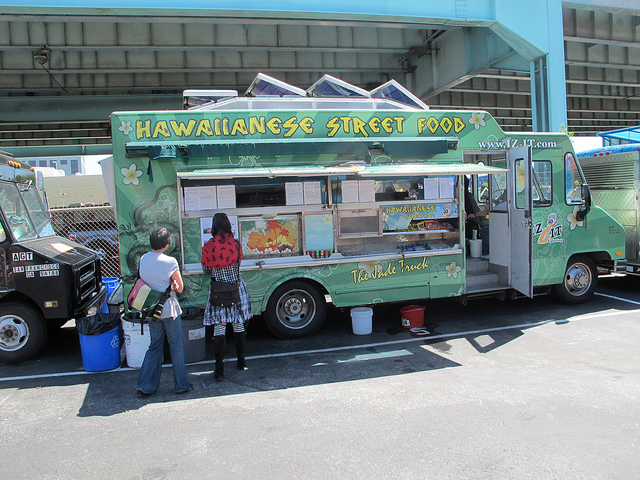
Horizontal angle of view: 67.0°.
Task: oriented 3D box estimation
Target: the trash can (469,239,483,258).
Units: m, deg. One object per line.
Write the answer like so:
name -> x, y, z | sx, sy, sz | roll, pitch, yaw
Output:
trash can -> 3.154, 0.177, 9.819 | 0.228, 0.357, 0.181 | -1, 9, 7

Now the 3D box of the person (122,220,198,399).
person -> -2.077, 0.918, 6.346 | 0.776, 2.138, 0.867 | -4, 9, -11

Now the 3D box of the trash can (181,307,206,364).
trash can -> -1.893, 1.455, 7.274 | 0.344, 0.784, 0.299 | -5, 10, -20

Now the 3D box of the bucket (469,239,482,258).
bucket -> 3.145, 0.185, 9.946 | 0.313, 0.336, 0.309 | -1, 2, 0

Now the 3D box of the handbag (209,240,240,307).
handbag -> -1.305, 0.718, 6.588 | 0.423, 0.412, 0.151 | -4, 9, -10

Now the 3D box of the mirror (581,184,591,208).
mirror -> 4.985, -0.822, 9.077 | 0.173, 0.436, 0.199 | 3, 10, 28

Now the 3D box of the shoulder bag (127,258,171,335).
shoulder bag -> -2.176, 0.771, 6.089 | 0.458, 0.594, 0.261 | 40, 16, 19

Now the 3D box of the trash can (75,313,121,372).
trash can -> -3.192, 1.515, 7.042 | 0.590, 0.811, 0.310 | -6, 10, -24

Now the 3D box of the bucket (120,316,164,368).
bucket -> -2.621, 1.529, 7.208 | 0.654, 0.752, 0.681 | 0, -1, 0

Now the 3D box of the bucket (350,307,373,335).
bucket -> 0.726, 1.367, 8.261 | 0.422, 0.394, 0.423 | -1, 4, 0

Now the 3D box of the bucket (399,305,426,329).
bucket -> 1.599, 1.339, 8.324 | 0.382, 0.281, 0.387 | -8, -3, 0

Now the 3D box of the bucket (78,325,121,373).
bucket -> -3.207, 1.634, 7.200 | 0.509, 0.685, 0.537 | -2, 1, 0
